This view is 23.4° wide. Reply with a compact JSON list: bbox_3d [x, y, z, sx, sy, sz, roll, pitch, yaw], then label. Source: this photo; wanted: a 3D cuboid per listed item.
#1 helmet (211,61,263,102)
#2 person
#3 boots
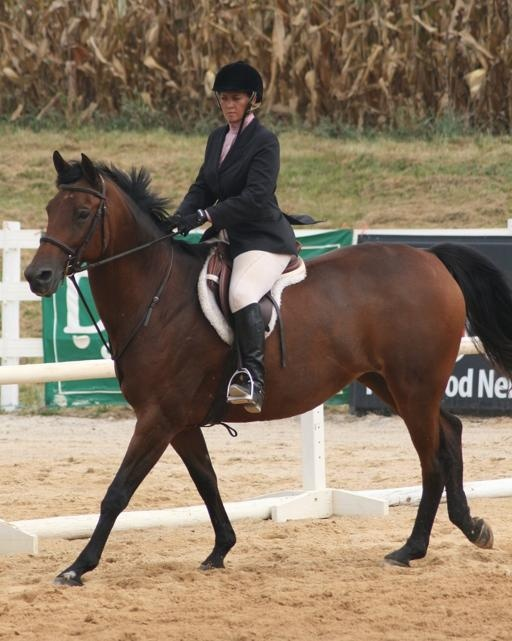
[{"bbox_3d":[-0.100,-1.462,7.654,0.328,0.243,0.419,2,-7,12],"label":"helmet"},{"bbox_3d":[-0.166,-0.502,7.449,0.741,2.127,0.828,2,7,12],"label":"person"},{"bbox_3d":[-0.057,0.228,7.240,0.209,0.626,0.318,1,7,-1],"label":"boots"}]
